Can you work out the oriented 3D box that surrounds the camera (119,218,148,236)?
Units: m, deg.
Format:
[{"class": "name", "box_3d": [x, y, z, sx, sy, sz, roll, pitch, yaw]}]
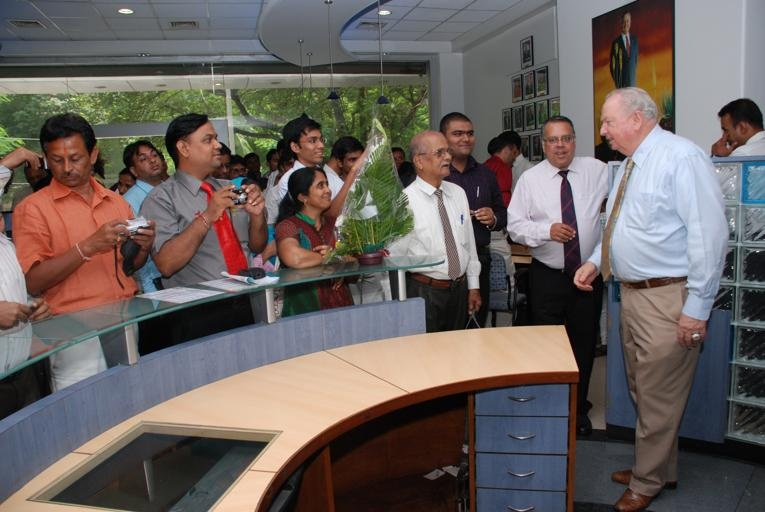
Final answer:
[{"class": "camera", "box_3d": [-1.200, -0.146, 2.475, 0.104, 0.076, 0.053, -10, 12, -25]}]

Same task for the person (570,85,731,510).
[{"class": "person", "box_3d": [1.615, 0.248, 2.978, 0.532, 2.455, 0.502, -4, 11, 3]}]

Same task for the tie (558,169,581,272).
[{"class": "tie", "box_3d": [1.398, -0.276, 3.786, 0.128, 0.830, 0.066, 4, -18, -6]}]

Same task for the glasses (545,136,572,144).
[{"class": "glasses", "box_3d": [1.305, -0.876, 3.768, 0.197, 0.059, 0.072, -1, 12, 18]}]

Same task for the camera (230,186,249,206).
[{"class": "camera", "box_3d": [-0.754, -0.319, 2.672, 0.077, 0.091, 0.053, -8, 12, -18]}]
